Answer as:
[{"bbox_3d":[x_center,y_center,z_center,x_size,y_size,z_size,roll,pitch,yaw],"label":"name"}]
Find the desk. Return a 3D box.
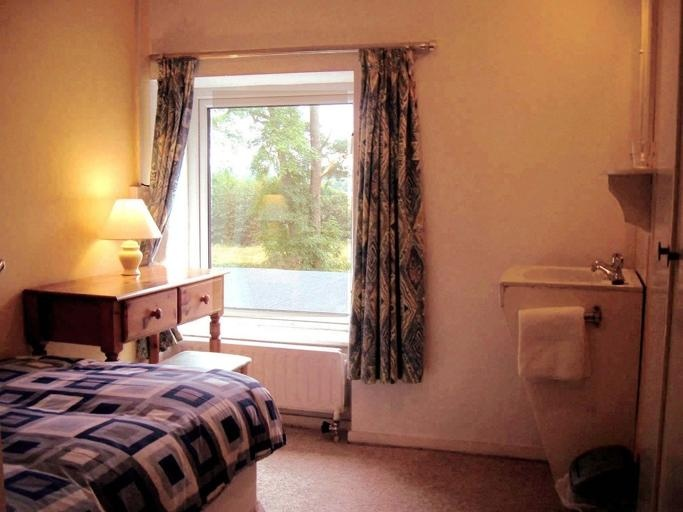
[{"bbox_3d":[-1.168,0.137,3.083,0.490,0.531,0.776,3,7,19],"label":"desk"}]

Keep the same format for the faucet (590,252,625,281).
[{"bbox_3d":[1.329,0.052,2.877,0.076,0.151,0.221,-1,19,-9],"label":"faucet"}]

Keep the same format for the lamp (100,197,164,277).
[{"bbox_3d":[-1.140,-0.125,3.456,0.381,0.535,0.438,-1,8,1],"label":"lamp"}]
